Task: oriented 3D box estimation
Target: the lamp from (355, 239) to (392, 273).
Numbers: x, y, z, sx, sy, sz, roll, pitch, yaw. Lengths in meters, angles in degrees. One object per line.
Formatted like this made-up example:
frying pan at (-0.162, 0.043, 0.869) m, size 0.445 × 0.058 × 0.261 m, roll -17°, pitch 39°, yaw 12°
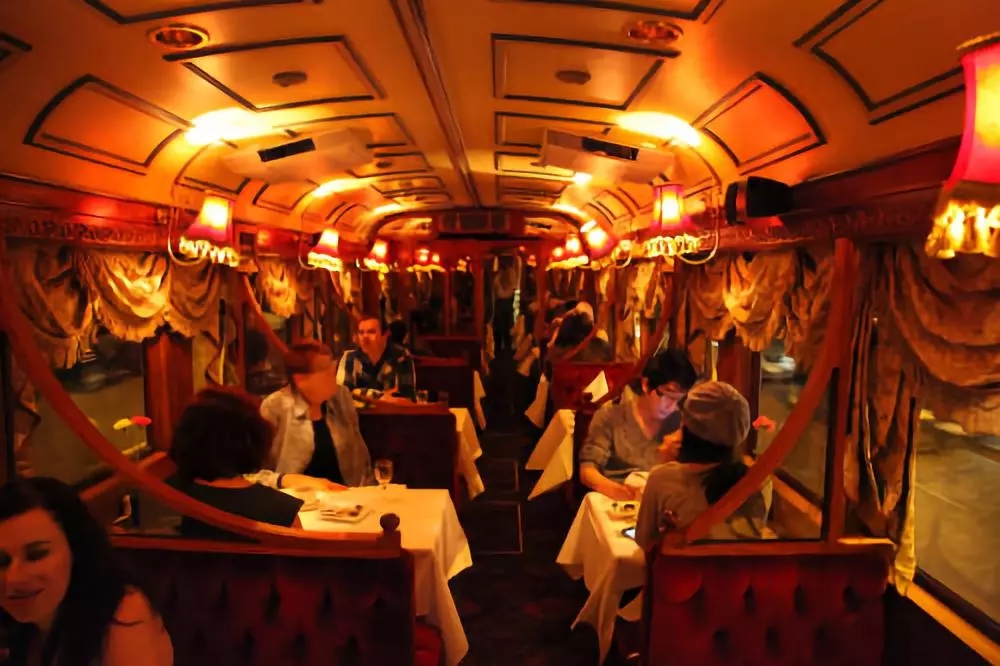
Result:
lamp at (-1.991, -1.262, 11.978) m, size 0.504 × 0.510 × 0.505 m, roll 5°, pitch 4°, yaw -28°

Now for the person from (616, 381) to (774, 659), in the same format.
person at (1.243, 1.141, 4.634) m, size 0.787 × 1.352 × 0.770 m, roll 3°, pitch 1°, yaw -3°

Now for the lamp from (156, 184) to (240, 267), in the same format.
lamp at (-2.629, -0.926, 6.438) m, size 0.609 × 0.743 × 0.597 m, roll 1°, pitch 0°, yaw 13°

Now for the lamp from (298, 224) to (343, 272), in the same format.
lamp at (-2.262, -1.143, 9.680) m, size 0.469 × 0.500 × 0.510 m, roll 8°, pitch -7°, yaw 9°

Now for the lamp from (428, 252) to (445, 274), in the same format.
lamp at (-1.157, -1.292, 13.158) m, size 0.329 × 0.396 × 0.322 m, roll -2°, pitch 6°, yaw -44°

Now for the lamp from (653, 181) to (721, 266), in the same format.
lamp at (1.478, -0.902, 6.178) m, size 0.738 × 0.840 × 0.588 m, roll 0°, pitch 6°, yaw -3°

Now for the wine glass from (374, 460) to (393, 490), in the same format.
wine glass at (-0.856, 1.037, 5.408) m, size 0.118 × 0.225 × 0.327 m, roll 3°, pitch 1°, yaw -11°

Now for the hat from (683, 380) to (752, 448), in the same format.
hat at (1.340, 0.427, 4.554) m, size 0.306 × 0.159 × 0.449 m, roll 23°, pitch 44°, yaw 5°

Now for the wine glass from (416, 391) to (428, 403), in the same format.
wine glass at (-0.797, 0.653, 7.541) m, size 0.117 × 0.128 × 0.118 m, roll 0°, pitch -8°, yaw 0°

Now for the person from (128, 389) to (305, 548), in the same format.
person at (-1.691, 0.776, 4.541) m, size 0.966 × 0.995 × 0.564 m, roll 1°, pitch 2°, yaw 23°

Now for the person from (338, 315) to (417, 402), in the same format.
person at (-1.296, 0.265, 7.512) m, size 0.726 × 0.986 × 0.572 m, roll 2°, pitch 6°, yaw -6°

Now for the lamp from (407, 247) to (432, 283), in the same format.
lamp at (-1.421, -1.258, 13.175) m, size 0.474 × 0.574 × 0.488 m, roll 6°, pitch 8°, yaw -10°
